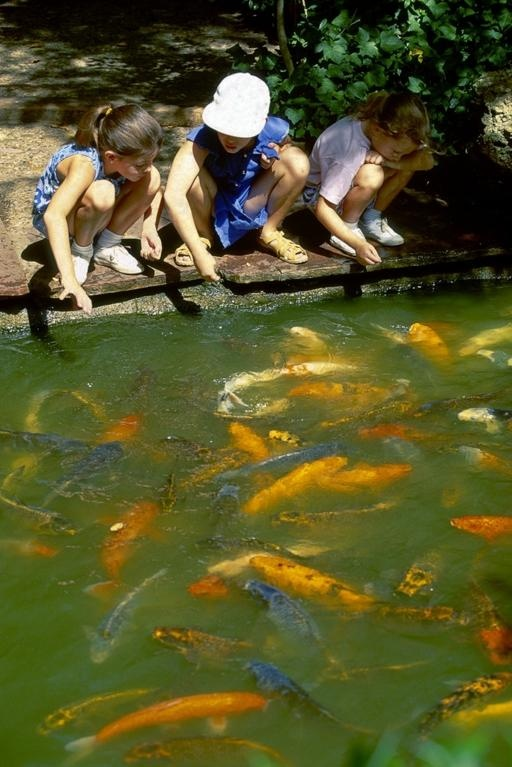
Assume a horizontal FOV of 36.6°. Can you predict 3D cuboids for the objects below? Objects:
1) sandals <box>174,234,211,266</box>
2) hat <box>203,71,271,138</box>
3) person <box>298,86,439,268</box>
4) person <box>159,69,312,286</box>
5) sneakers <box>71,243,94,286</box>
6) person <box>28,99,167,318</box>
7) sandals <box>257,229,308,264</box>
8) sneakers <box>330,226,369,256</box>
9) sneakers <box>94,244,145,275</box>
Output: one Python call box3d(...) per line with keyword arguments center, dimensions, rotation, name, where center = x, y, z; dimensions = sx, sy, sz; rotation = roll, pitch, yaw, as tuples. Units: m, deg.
box3d(center=(-0.312, -0.600, 3.523), dimensions=(0.158, 0.071, 0.156), rotation=(-36, 23, 1), name="sandals")
box3d(center=(-0.075, -1.171, 3.222), dimensions=(0.273, 0.162, 0.320), rotation=(8, 32, 6), name="hat")
box3d(center=(0.513, -1.029, 3.717), dimensions=(0.553, 0.825, 0.568), rotation=(35, 53, 23), name="person")
box3d(center=(-0.137, -0.938, 3.442), dimensions=(0.652, 0.792, 0.778), rotation=(24, 45, 29), name="person")
box3d(center=(-0.743, -0.518, 3.328), dimensions=(0.080, 0.125, 0.197), rotation=(4, 50, -14), name="sneakers")
box3d(center=(-0.659, -0.743, 3.257), dimensions=(0.585, 0.811, 0.791), rotation=(-7, 16, -7), name="person")
box3d(center=(0.126, -0.642, 3.677), dimensions=(0.268, 0.102, 0.119), rotation=(27, 59, 28), name="sandals")
box3d(center=(0.432, -0.671, 3.641), dimensions=(0.177, 0.056, 0.123), rotation=(35, 2, 21), name="sneakers")
box3d(center=(-0.587, -0.558, 3.427), dimensions=(0.263, 0.100, 0.101), rotation=(17, 45, 4), name="sneakers")
